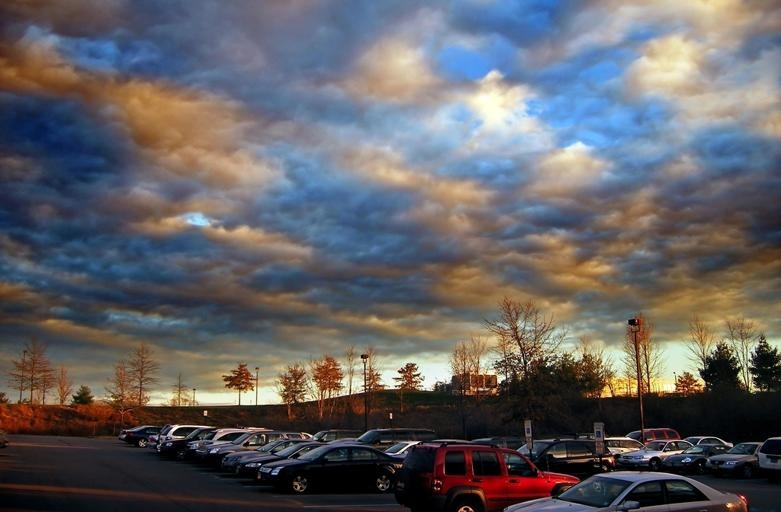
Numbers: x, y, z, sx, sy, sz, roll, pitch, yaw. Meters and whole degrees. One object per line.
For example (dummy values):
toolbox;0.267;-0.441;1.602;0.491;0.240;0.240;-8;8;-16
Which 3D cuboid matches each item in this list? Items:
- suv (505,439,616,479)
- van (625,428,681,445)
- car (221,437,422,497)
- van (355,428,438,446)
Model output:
suv;11.068;11.895;45.005;5.216;1.795;2.390;8;-15;-15
van;20.191;13.690;57.959;4.140;1.616;1.952;6;-13;-8
car;-3.288;11.757;41.972;7.451;2.131;3.277;6;-14;-14
van;0.329;12.232;51.513;4.394;1.589;1.958;5;-12;-12
